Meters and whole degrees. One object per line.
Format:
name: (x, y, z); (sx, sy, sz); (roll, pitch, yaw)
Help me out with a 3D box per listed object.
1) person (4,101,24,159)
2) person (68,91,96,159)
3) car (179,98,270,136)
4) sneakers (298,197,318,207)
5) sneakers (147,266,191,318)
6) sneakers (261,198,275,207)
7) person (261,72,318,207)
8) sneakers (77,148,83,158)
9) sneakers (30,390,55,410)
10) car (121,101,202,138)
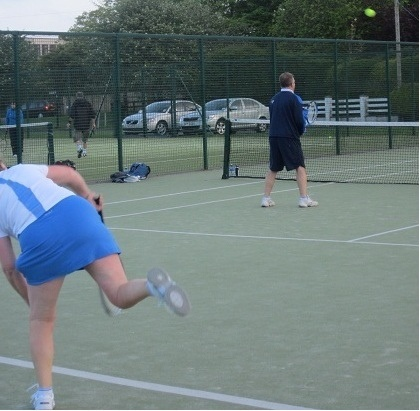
person: (-4.490, -1.772, 13.062); (0.373, 1.140, 0.526); (-2, 6, -16)
person: (-3.254, -2.044, 14.351); (0.612, 1.635, 0.926); (1, 6, 14)
car: (0.428, -2.725, 17.117); (1.180, 0.974, 2.648); (3, 5, 43)
sneakers: (1.780, -0.063, 10.219); (0.389, 0.215, 0.137); (-4, 7, -26)
sneakers: (-0.171, 0.353, 2.373); (0.129, 0.230, 0.088); (-34, -12, -33)
sneakers: (1.042, -0.062, 10.332); (0.099, 0.130, 0.290); (3, 9, 27)
person: (1.363, -1.149, 10.082); (0.892, 2.384, 0.485); (0, 6, 8)
sneakers: (-3.402, -1.384, 14.781); (0.084, 0.291, 0.174); (3, -33, -5)
sneakers: (-0.859, 0.961, 2.890); (0.073, 0.103, 0.215); (0, -5, -12)
car: (-1.429, -2.366, 15.510); (1.963, 0.746, 0.833); (-7, 6, -40)
